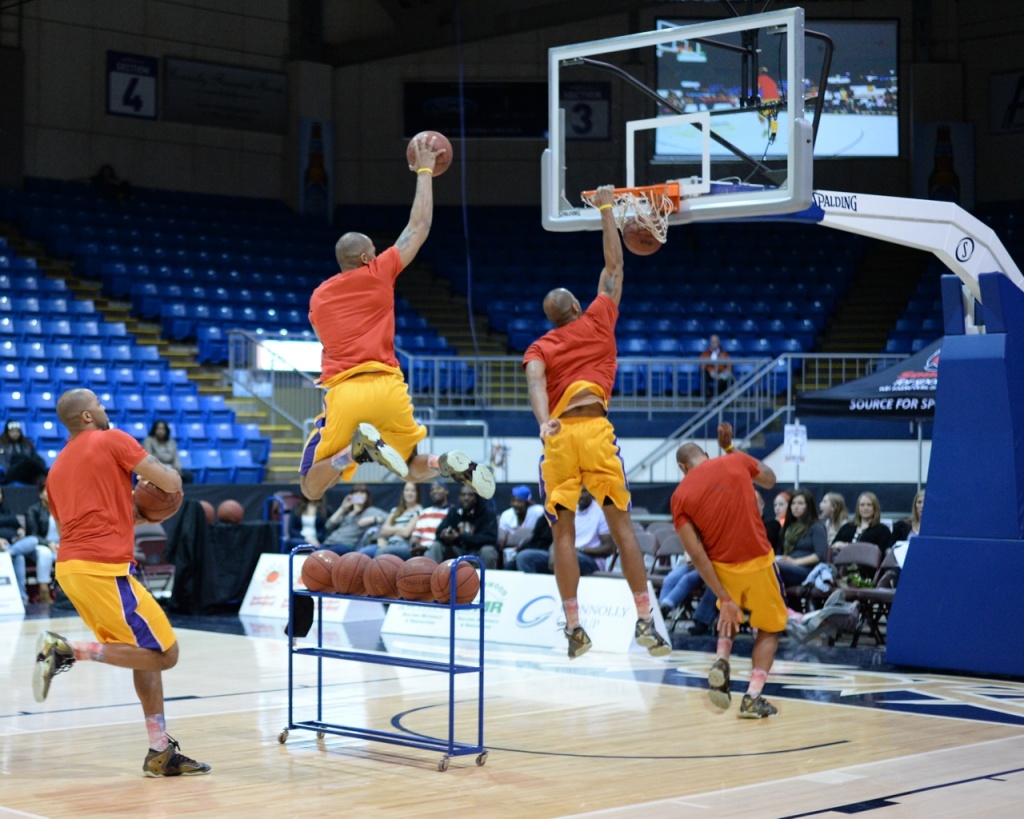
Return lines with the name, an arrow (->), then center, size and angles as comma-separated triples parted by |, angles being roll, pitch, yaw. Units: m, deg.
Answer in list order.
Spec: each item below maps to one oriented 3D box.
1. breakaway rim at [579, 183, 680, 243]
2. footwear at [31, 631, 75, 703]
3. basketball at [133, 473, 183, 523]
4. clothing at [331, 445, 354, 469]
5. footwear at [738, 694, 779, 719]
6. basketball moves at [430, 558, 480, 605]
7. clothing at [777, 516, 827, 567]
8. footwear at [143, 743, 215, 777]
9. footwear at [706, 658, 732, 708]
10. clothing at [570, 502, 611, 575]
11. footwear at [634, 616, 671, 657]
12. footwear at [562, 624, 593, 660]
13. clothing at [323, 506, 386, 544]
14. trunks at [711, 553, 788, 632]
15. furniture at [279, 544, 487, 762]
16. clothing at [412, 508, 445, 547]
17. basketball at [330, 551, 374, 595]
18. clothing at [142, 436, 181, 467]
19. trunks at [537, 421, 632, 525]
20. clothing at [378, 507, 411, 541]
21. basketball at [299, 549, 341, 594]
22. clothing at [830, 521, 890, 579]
breakaway rim -> 1.060, -1.630, 11.013 | 0.575, 0.387, 0.524 | 0, -3, -6
footwear -> -3.049, 1.657, 8.957 | 0.243, 0.580, 0.185 | 10, -5, -33
basketball -> -2.405, 0.613, 9.222 | 0.300, 0.245, 0.257 | 7, -6, -28
clothing -> -1.191, 0.358, 9.497 | 0.109, 0.192, 0.181 | 7, 7, 25
footwear -> 1.910, 2.288, 10.423 | 0.368, 0.179, 0.136 | 2, 0, -44
basketball moves -> -0.396, 1.201, 9.431 | 0.341, 0.310, 0.286 | 1, 2, -4
clothing -> 3.168, 1.448, 14.636 | 0.509, 0.413, 0.421 | 4, -6, -10
footwear -> -2.285, 2.370, 9.224 | 0.533, 0.285, 0.183 | 1, -4, -11
footwear -> 1.494, 2.033, 9.853 | 0.158, 0.398, 0.177 | 1, 26, 19
clothing -> 0.846, 1.533, 15.628 | 0.569, 0.797, 0.445 | -4, 14, 0
footwear -> 1.056, 1.724, 10.042 | 0.143, 0.191, 0.410 | -9, -26, 22
footwear -> 0.477, 1.709, 9.868 | 0.156, 0.273, 0.386 | 1, 2, 1
clothing -> -1.964, 1.454, 16.726 | 0.696, 0.459, 0.640 | 1, 2, -6
trunks -> 1.806, 1.484, 10.351 | 0.516, 0.714, 0.383 | -2, -35, 6
furniture -> -1.041, 2.053, 11.130 | 1.333, 1.248, 0.442 | 1, 2, 36
clothing -> -0.977, 1.410, 15.938 | 0.310, 0.316, 0.176 | 12, -15, 43
basketball -> -1.173, 1.172, 9.749 | 0.266, 0.348, 0.276 | 3, 5, -11
clothing -> -4.328, 0.515, 16.664 | 0.206, 0.411, 0.360 | -22, -18, 40
trunks -> 0.541, 0.460, 10.109 | 0.653, 0.792, 0.313 | 1, 2, 1
clothing -> -1.385, 1.407, 16.408 | 0.485, 0.447, 0.743 | 1, 2, -6
basketball -> -1.367, 1.202, 9.935 | 0.275, 0.347, 0.284 | -24, -10, -11
clothing -> 3.792, 1.512, 14.806 | 0.584, 0.677, 0.483 | 12, -14, -42
